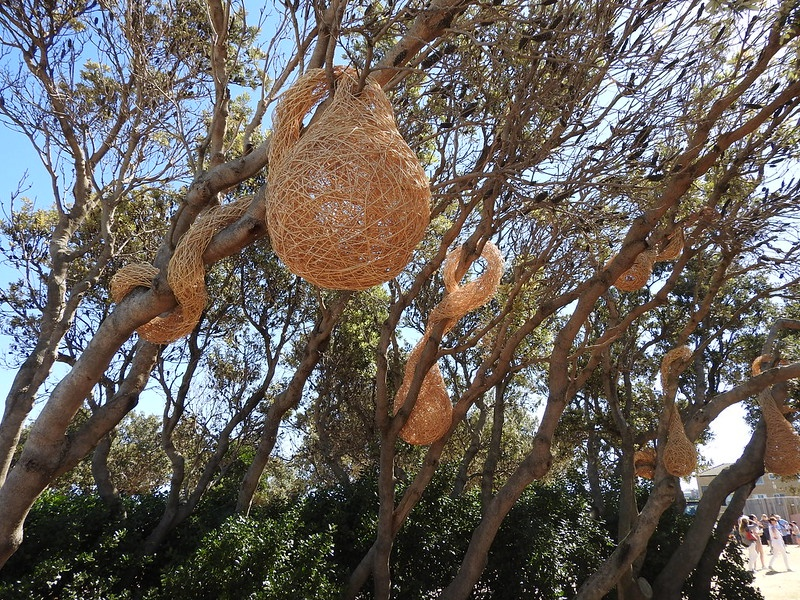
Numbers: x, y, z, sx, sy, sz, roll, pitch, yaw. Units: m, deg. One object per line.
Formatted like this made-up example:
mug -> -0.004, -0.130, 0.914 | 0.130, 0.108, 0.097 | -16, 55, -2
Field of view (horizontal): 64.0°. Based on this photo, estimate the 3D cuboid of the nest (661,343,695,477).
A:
nest -> 3.820, 1.491, 8.774 | 0.427, 1.921, 0.614 | 0, -30, 24

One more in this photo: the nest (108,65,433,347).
nest -> -0.910, -0.569, 5.717 | 2.389, 1.865, 1.039 | -25, -6, 14

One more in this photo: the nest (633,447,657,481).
nest -> 3.934, 2.601, 10.308 | 0.395, 0.517, 0.209 | 4, 8, -4
